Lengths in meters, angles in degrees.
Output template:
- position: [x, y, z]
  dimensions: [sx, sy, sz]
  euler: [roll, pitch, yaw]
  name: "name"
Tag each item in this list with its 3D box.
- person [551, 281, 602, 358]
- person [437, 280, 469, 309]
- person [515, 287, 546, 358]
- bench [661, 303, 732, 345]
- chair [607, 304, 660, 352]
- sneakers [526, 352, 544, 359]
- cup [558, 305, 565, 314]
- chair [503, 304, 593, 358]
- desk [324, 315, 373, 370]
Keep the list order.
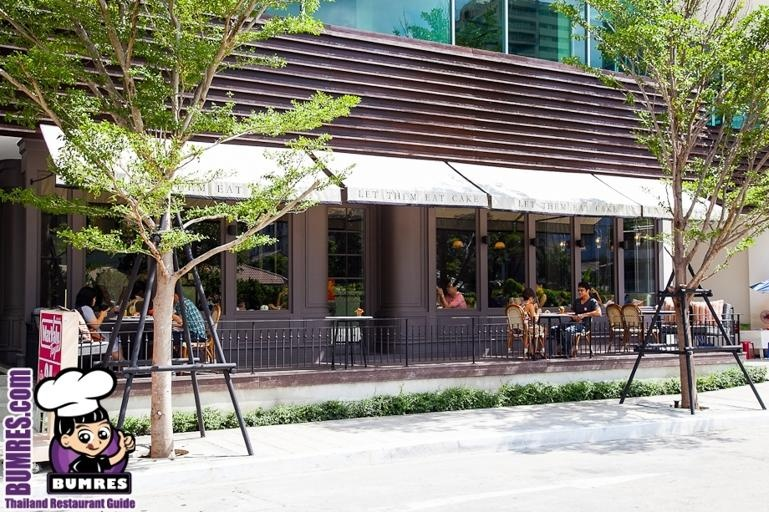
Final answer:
- position: [4.552, 1.551, 16.974]
  dimensions: [1.005, 1.925, 1.010]
  euler: [11, -6, -33]
  name: "person"
- position: [1.699, 0.982, 18.103]
  dimensions: [0.784, 0.713, 0.318]
  euler: [-2, 3, -38]
  name: "person"
- position: [3.362, 1.553, 16.245]
  dimensions: [0.566, 1.490, 1.362]
  euler: [1, 3, 12]
  name: "person"
- position: [7.409, 1.622, 16.909]
  dimensions: [1.211, 1.305, 0.702]
  euler: [-1, -10, 14]
  name: "bench"
- position: [5.936, 1.815, 17.677]
  dimensions: [0.844, 1.357, 2.090]
  euler: [1, 3, 17]
  name: "chair"
- position: [3.431, 2.281, 16.211]
  dimensions: [0.150, 0.203, 0.477]
  euler: [6, -12, -38]
  name: "sneakers"
- position: [4.676, 1.418, 18.830]
  dimensions: [0.222, 0.238, 0.347]
  euler: [-1, -8, 4]
  name: "cup"
- position: [3.718, 1.722, 16.616]
  dimensions: [1.889, 1.217, 1.103]
  euler: [-1, -1, -22]
  name: "chair"
- position: [-0.779, 1.802, 15.737]
  dimensions: [0.741, 1.367, 3.722]
  euler: [0, 2, -4]
  name: "desk"
